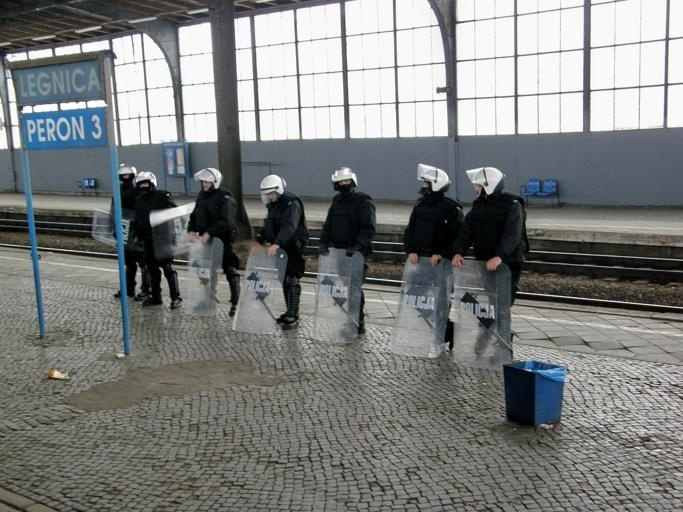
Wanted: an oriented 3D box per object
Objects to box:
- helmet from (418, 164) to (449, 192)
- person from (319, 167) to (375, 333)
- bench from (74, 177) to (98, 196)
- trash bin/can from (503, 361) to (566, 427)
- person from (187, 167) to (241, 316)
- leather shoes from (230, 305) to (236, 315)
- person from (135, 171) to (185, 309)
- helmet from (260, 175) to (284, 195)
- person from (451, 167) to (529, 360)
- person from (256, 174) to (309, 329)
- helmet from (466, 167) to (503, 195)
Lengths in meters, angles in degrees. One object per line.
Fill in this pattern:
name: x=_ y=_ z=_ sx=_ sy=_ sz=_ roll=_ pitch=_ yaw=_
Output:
helmet: x=1.230 y=-1.056 z=9.360 sx=0.438 sy=0.342 sz=0.324 roll=13 pitch=13 yaw=13
person: x=0.088 y=-0.440 z=9.954 sx=0.818 sy=1.577 sz=0.631 roll=3 pitch=12 yaw=16
bench: x=-13.486 y=-3.658 z=37.050 sx=1.056 sy=0.821 sz=0.417 roll=2 pitch=5 yaw=27
trash bin/can: x=2.064 y=1.403 z=7.378 sx=0.607 sy=0.614 sz=0.627 roll=-2 pitch=1 yaw=-38
person: x=-2.042 y=-0.226 z=11.240 sx=0.757 sy=2.299 sz=1.192 roll=-2 pitch=12 yaw=-8
leather shoes: x=-1.746 y=0.875 z=11.249 sx=0.129 sy=0.148 sz=0.045 roll=-6 pitch=-13 yaw=20
person: x=-3.111 y=-0.261 z=11.786 sx=0.628 sy=2.244 sz=1.079 roll=-9 pitch=15 yaw=-35
helmet: x=-1.017 y=-1.015 z=10.364 sx=0.313 sy=0.252 sz=0.276 roll=-27 pitch=27 yaw=-33
person: x=1.831 y=0.140 z=8.740 sx=0.870 sy=2.415 sz=0.785 roll=3 pitch=12 yaw=17
person: x=-0.880 y=-0.084 z=10.589 sx=0.736 sy=2.250 sz=0.966 roll=-1 pitch=12 yaw=-3
helmet: x=1.810 y=-0.984 z=8.840 sx=0.425 sy=0.347 sz=0.315 roll=-5 pitch=23 yaw=-2
